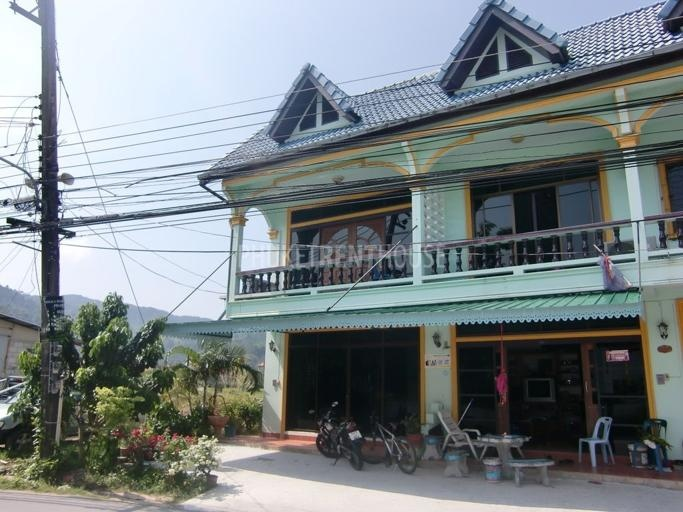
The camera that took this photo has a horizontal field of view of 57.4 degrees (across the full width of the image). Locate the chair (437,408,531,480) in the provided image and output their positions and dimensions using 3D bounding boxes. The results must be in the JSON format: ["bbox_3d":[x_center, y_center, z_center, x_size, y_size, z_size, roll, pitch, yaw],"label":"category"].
[{"bbox_3d":[3.564,4.657,15.865,2.014,1.062,1.318,-15,-22,41],"label":"chair"}]

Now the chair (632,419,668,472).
[{"bbox_3d":[7.638,4.589,15.068,0.618,1.083,0.692,-2,7,38],"label":"chair"}]

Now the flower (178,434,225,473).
[{"bbox_3d":[-3.264,4.585,14.620,0.875,0.883,0.884,12,-3,-14],"label":"flower"}]

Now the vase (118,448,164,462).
[{"bbox_3d":[-4.884,4.818,15.227,0.754,0.252,0.586,1,-5,8],"label":"vase"}]

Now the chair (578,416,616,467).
[{"bbox_3d":[6.341,4.566,15.520,0.758,1.149,0.747,6,-11,-27],"label":"chair"}]

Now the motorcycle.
[{"bbox_3d":[-0.147,4.845,17.027,0.832,1.511,2.389,-12,0,-30],"label":"motorcycle"}]

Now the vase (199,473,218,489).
[{"bbox_3d":[-3.050,5.168,14.354,0.265,0.206,0.279,-13,-16,40],"label":"vase"}]

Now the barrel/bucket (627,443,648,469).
[{"bbox_3d":[7.236,4.826,15.238,0.476,0.645,0.500,5,-8,1],"label":"barrel/bucket"}]

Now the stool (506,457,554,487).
[{"bbox_3d":[4.496,5.096,14.864,1.004,0.574,1.313,-4,-14,16],"label":"stool"}]

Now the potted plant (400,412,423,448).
[{"bbox_3d":[2.004,4.976,17.803,0.583,0.832,0.597,-5,-11,11],"label":"potted plant"}]

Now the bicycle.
[{"bbox_3d":[1.153,5.043,16.883,1.163,1.354,2.761,2,-14,-7],"label":"bicycle"}]

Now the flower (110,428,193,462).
[{"bbox_3d":[-4.708,4.590,15.174,2.313,0.792,1.049,-7,-15,27],"label":"flower"}]

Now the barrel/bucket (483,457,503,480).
[{"bbox_3d":[3.599,5.075,14.929,0.441,0.472,0.486,1,-22,4],"label":"barrel/bucket"}]
